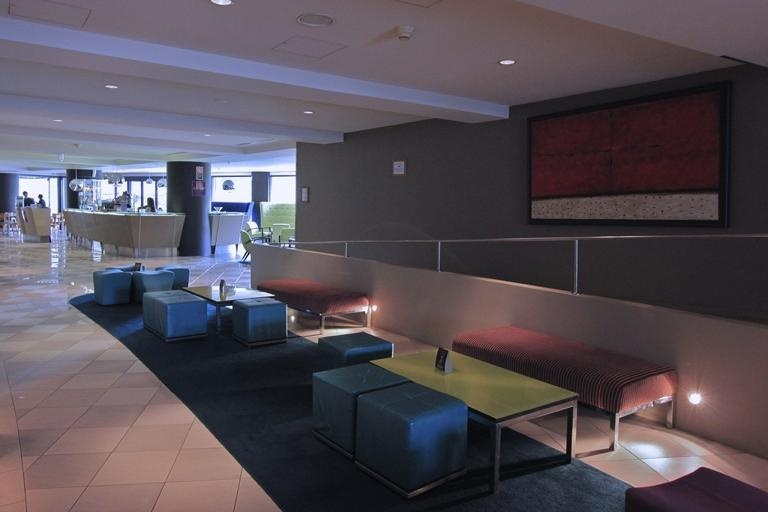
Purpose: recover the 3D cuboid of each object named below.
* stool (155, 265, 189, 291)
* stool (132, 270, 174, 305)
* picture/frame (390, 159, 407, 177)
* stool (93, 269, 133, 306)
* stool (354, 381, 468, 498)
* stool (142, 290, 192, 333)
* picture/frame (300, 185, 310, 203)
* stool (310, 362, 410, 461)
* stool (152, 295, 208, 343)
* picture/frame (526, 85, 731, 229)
[{"bbox_3d":[-3.958,0.393,9.213,0.613,0.501,0.602,2,-4,16],"label":"stool"},{"bbox_3d":[-3.895,0.548,8.696,0.880,0.508,0.889,-12,-10,43],"label":"stool"},{"bbox_3d":[0.276,-1.540,8.781,0.070,0.263,0.365,-6,12,-34],"label":"picture/frame"},{"bbox_3d":[-4.698,0.530,8.630,0.624,0.576,0.588,-2,5,-39],"label":"stool"},{"bbox_3d":[0.252,1.320,3.811,0.718,0.568,0.738,-5,7,-39],"label":"stool"},{"bbox_3d":[-2.929,0.807,6.832,0.502,0.491,0.838,-4,12,-40],"label":"stool"},{"bbox_3d":[-1.716,-1.344,10.868,0.047,0.421,0.410,0,1,-40],"label":"picture/frame"},{"bbox_3d":[-0.193,1.279,4.263,0.697,0.631,0.666,-3,5,-36],"label":"stool"},{"bbox_3d":[-2.754,0.814,6.749,0.802,0.500,0.557,-3,8,-9],"label":"stool"},{"bbox_3d":[2.986,-1.178,5.895,0.075,1.033,1.863,-5,5,-38],"label":"picture/frame"}]
